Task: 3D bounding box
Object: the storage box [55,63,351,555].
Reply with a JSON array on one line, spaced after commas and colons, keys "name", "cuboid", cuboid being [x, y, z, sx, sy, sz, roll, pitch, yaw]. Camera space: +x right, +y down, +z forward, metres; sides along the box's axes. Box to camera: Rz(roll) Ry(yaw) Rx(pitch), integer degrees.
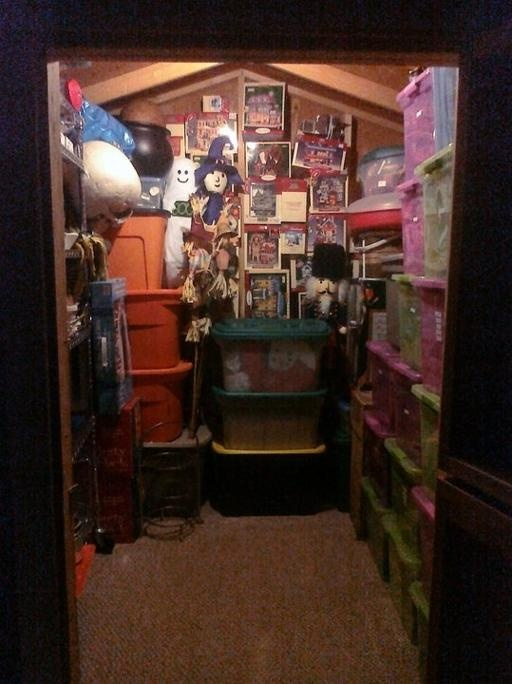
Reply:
[{"name": "storage box", "cuboid": [-0.252, -0.125, 3.279, 1.291, 2.296, 0.772, -2, -9, -5]}]
